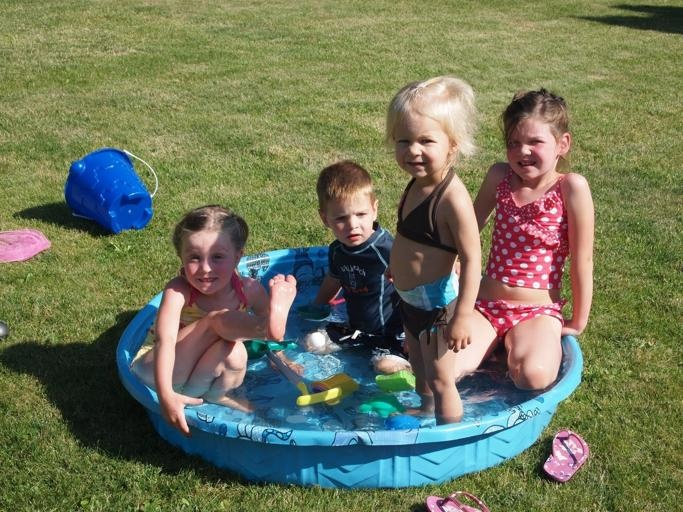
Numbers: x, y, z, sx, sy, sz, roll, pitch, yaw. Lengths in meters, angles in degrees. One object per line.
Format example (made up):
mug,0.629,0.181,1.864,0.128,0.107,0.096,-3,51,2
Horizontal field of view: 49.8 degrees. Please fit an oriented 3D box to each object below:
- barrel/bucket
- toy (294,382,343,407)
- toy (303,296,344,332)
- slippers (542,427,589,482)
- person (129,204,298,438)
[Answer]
barrel/bucket,-1.893,-0.551,5.983,0.719,0.714,0.572,-2,30,-44
toy,-0.137,0.775,4.246,0.166,0.057,0.124,-14,6,-13
toy,-0.131,0.398,5.033,0.246,0.077,0.171,-9,16,-20
slippers,1.227,1.064,4.005,0.186,0.355,0.036,16,34,17
person,-0.725,0.331,4.062,0.853,0.984,0.732,-15,33,-25
